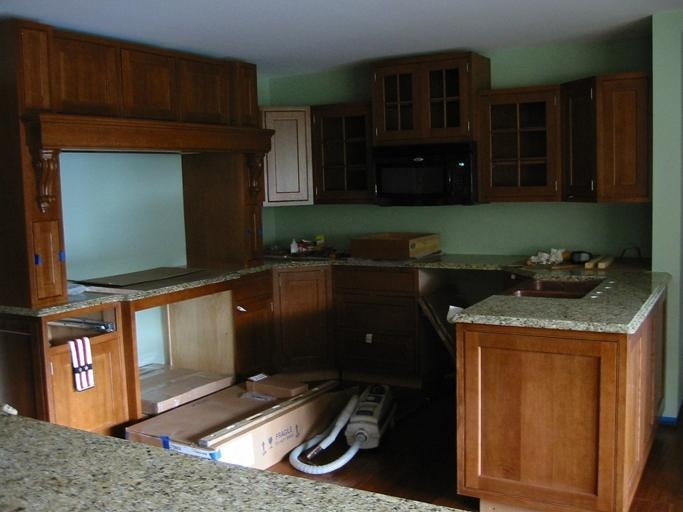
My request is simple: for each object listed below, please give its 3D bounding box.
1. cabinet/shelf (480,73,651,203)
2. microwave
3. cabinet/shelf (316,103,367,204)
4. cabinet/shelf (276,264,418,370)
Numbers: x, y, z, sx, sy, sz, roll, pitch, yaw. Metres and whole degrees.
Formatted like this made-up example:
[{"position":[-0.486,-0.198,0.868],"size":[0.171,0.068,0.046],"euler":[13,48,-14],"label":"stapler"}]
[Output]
[{"position":[1.898,-0.942,4.686],"size":[0.811,0.969,1.577],"euler":[-12,13,-33],"label":"cabinet/shelf"},{"position":[0.665,-0.760,5.099],"size":[0.992,0.534,0.493],"euler":[-3,18,-11],"label":"microwave"},{"position":[0.089,-0.995,5.386],"size":[0.642,0.937,0.308],"euler":[1,5,27],"label":"cabinet/shelf"},{"position":[0.177,0.603,5.081],"size":[1.617,1.016,0.797],"euler":[-5,-6,35],"label":"cabinet/shelf"}]
